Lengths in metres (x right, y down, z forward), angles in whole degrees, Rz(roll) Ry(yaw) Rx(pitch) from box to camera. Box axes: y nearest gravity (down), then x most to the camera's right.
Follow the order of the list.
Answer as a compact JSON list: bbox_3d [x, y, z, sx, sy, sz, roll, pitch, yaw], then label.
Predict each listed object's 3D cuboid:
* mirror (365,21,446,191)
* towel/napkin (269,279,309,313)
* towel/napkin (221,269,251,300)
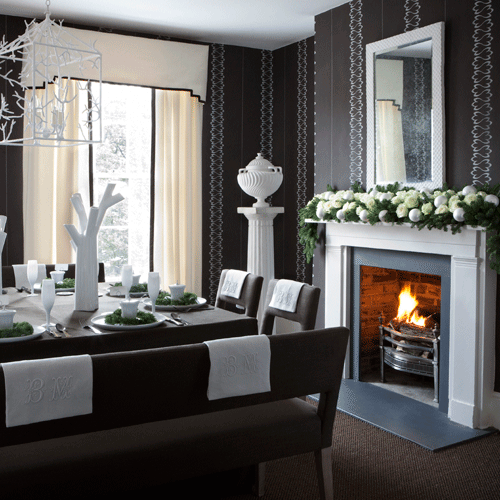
[{"bbox_3d":[1.105,-1.009,3.322,0.064,1.143,0.697,-1,3,-31],"label":"mirror"},{"bbox_3d":[0.197,0.253,2.522,0.160,0.182,0.049,16,7,43],"label":"towel/napkin"},{"bbox_3d":[-0.099,0.215,2.902,0.048,0.180,0.158,11,1,-43],"label":"towel/napkin"}]
